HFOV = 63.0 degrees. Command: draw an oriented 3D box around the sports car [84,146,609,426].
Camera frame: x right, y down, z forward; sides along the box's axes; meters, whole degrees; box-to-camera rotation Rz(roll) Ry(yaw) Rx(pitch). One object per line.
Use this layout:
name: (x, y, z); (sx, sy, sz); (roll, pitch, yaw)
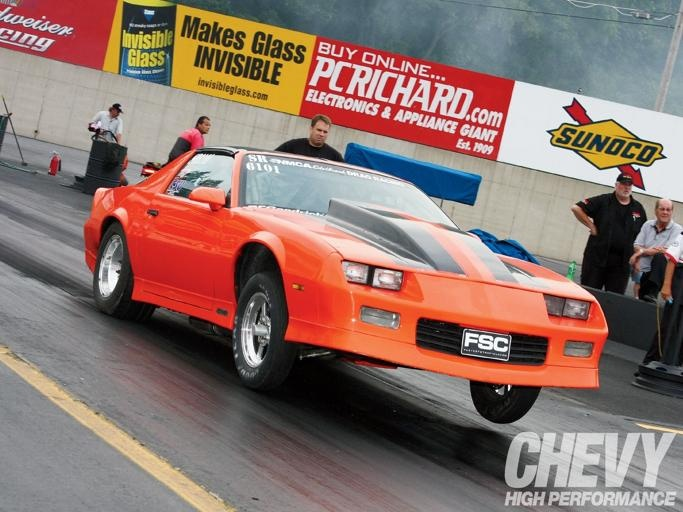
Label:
sports car: (-0.234, 0.087, 4.749); (4.348, 2.006, 1.663); (13, 2, 39)

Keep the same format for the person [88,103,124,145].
person: (-7.556, -4.165, 17.886); (1.046, 1.444, 0.719); (17, 8, -30)

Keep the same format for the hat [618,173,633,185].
hat: (4.763, -1.310, 9.420); (0.184, 0.128, 0.251); (8, 0, -7)
